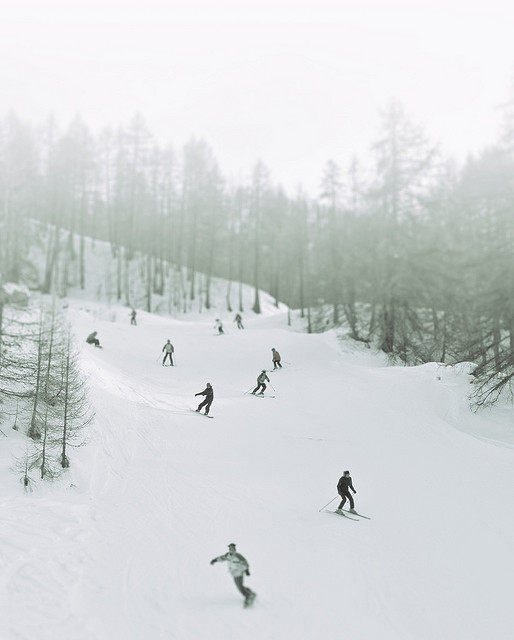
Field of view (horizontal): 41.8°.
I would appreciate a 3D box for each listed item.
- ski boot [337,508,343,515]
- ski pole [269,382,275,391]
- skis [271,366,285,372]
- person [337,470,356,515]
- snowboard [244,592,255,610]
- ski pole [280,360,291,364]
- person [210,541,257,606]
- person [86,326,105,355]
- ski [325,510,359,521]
[{"bbox_3d":[2.353,5.426,19.158,0.132,0.098,0.163,-4,31,1],"label":"ski boot"},{"bbox_3d":[0.614,2.899,29.223,0.087,0.097,0.451,-7,50,-43],"label":"ski pole"},{"bbox_3d":[1.014,2.358,32.514,0.749,0.140,0.105,-11,7,-40],"label":"skis"},{"bbox_3d":[2.558,4.865,19.145,0.530,1.202,0.573,5,13,11],"label":"person"},{"bbox_3d":[-0.166,6.454,15.461,0.116,0.066,0.243,16,51,7],"label":"snowboard"},{"bbox_3d":[1.404,2.124,34.000,0.371,0.068,0.058,31,11,12],"label":"ski pole"},{"bbox_3d":[-0.404,5.713,15.481,0.734,1.420,1.120,9,15,25],"label":"person"},{"bbox_3d":[-8.135,1.089,33.747,0.403,1.248,1.128,2,0,-3],"label":"person"},{"bbox_3d":[2.408,5.525,19.058,0.712,0.100,0.088,15,18,39],"label":"ski"}]
